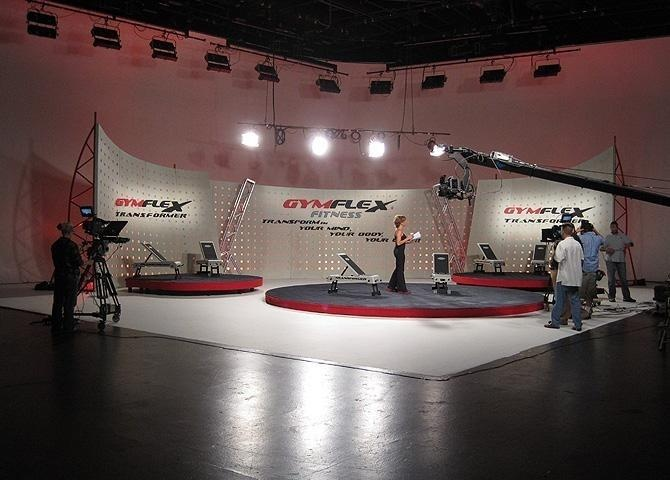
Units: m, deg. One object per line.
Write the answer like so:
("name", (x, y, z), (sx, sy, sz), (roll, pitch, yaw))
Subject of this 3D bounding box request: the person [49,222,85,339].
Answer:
("person", (-3.633, 0.491, 5.810), (0.348, 1.543, 0.488), (3, -2, -34))

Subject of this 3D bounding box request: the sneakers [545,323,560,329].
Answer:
("sneakers", (3.195, 1.249, 6.351), (0.170, 0.079, 0.074), (2, 1, 42))

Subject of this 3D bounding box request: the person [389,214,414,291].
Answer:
("person", (1.329, 0.266, 8.804), (0.430, 1.577, 1.314), (2, -1, 8))

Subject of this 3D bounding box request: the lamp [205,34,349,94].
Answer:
("lamp", (-1.434, -5.549, 13.809), (3.873, 1.185, 1.440), (3, -2, -25))

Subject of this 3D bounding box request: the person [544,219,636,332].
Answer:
("person", (3.834, 0.548, 6.903), (0.621, 1.572, 1.919), (1, -2, 35))
